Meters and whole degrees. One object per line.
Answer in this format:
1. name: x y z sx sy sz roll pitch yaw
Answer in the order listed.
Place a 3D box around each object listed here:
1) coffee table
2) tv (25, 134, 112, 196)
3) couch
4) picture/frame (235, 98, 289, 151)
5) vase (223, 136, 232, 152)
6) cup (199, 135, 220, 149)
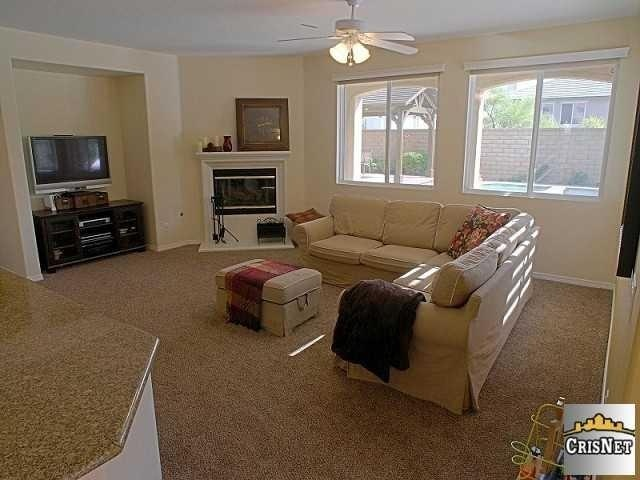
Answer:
1. coffee table: -0.525 0.522 4.525 0.896 0.540 0.705 11 16 32
2. tv: -3.399 -0.999 5.986 0.120 0.666 0.885 11 15 37
3. couch: 0.850 0.065 3.520 1.197 1.071 2.104 11 20 31
4. picture/frame: -0.916 -1.767 6.803 0.762 0.792 0.061 -2 8 -8
5. vase: -1.392 -1.443 6.740 0.142 0.246 0.267 -4 13 -11
6. cup: -1.663 -1.454 6.748 0.334 0.193 0.258 -4 13 -16
